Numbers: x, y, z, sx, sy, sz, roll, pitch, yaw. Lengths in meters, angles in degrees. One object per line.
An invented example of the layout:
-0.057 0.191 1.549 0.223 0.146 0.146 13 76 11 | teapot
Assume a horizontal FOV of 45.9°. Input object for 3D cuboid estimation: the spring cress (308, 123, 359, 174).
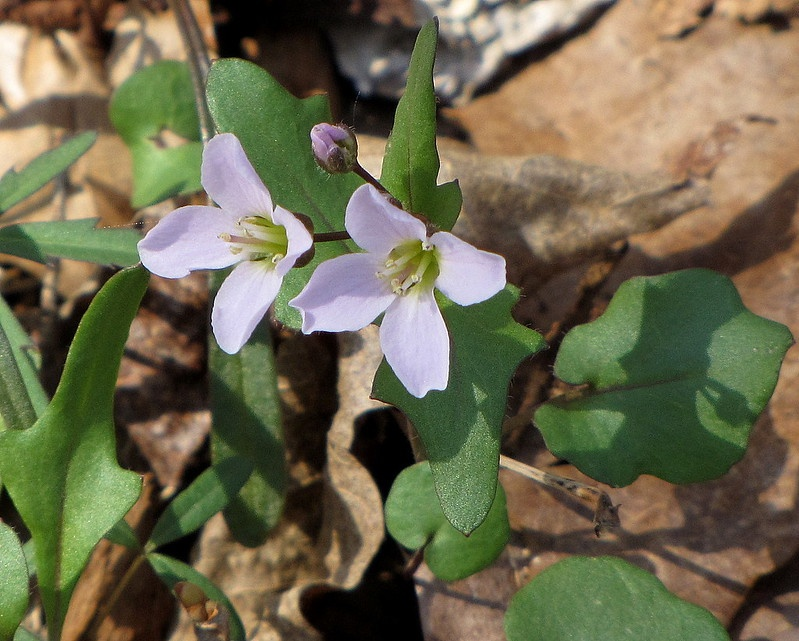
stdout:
-0.309 -0.817 4.499 0.208 0.181 0.259 -1 106 -28 | spring cress
